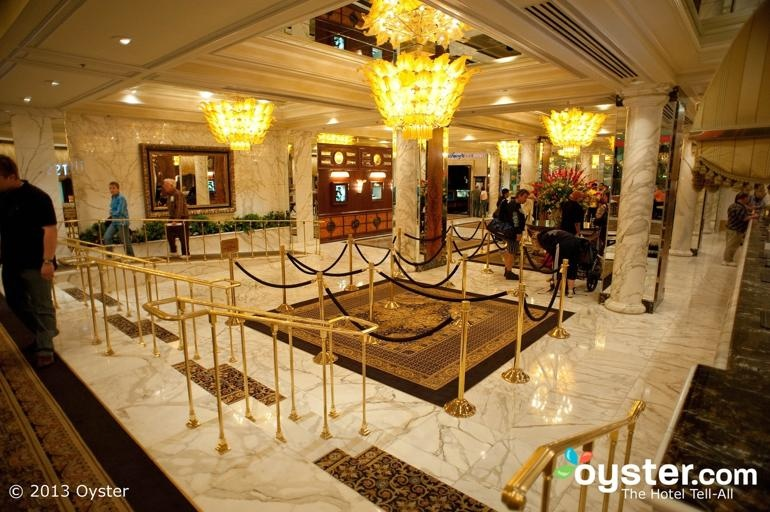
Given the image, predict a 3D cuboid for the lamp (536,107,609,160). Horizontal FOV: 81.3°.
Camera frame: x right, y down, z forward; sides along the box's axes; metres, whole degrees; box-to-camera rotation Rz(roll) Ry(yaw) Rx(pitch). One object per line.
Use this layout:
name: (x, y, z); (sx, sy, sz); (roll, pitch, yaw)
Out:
lamp: (4.448, -2.920, 10.564); (1.300, 0.793, 1.269); (6, 13, 18)

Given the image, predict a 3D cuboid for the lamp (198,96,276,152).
lamp: (-3.055, -2.678, 9.537); (1.339, 0.796, 1.235); (-1, 4, 13)

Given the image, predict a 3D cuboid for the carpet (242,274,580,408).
carpet: (0.443, 1.157, 7.270); (3.513, 0.499, 3.611); (8, 12, 42)

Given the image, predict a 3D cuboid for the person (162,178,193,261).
person: (-4.932, -0.901, 10.670); (0.484, 1.798, 1.395); (-5, 11, -23)

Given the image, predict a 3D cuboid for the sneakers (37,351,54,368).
sneakers: (-3.985, 1.223, 5.268); (0.185, 0.167, 0.173); (-2, -2, 39)

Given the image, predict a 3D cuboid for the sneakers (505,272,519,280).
sneakers: (2.760, 0.453, 9.739); (0.372, 0.231, 0.134); (-5, 12, -8)
